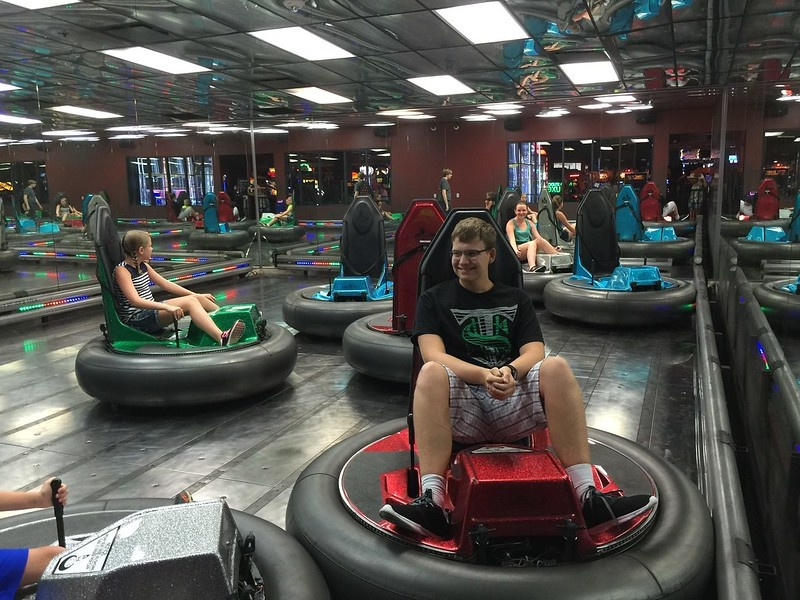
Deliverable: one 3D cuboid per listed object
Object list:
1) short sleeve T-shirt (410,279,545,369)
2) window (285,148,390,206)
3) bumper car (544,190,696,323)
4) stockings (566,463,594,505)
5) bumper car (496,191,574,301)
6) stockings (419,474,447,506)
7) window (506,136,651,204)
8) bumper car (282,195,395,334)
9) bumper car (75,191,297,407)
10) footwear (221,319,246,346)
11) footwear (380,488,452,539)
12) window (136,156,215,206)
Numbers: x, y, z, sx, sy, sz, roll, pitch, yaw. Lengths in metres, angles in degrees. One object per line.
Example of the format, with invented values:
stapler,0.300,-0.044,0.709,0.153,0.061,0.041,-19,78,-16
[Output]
short sleeve T-shirt,0.307,0.095,1.974,0.611,0.408,0.311,-1,-18,2
window,-1.196,-2.214,8.780,2.134,1.079,0.055,4,13,18
bumper car,2.481,-0.526,5.457,1.647,1.290,1.555,-7,17,-11
stockings,0.618,0.595,1.631,0.060,0.086,0.062,11,58,15
bumper car,1.808,-0.885,6.604,0.715,1.160,1.120,-13,12,-15
stockings,0.105,0.636,1.622,0.121,0.108,0.070,1,2,-7
window,3.022,-2.106,8.148,2.530,1.027,0.019,-1,8,-9
bumper car,-0.506,-0.394,5.232,1.556,1.297,1.612,3,11,18
bumper car,-1.627,-0.052,3.665,1.529,1.267,1.335,2,19,-23
footwear,-1.238,0.246,3.573,0.098,0.080,0.216,10,55,31
footwear,0.013,0.692,1.604,0.275,0.140,0.099,23,-18,-12
window,-3.942,-1.908,8.027,1.268,0.696,0.039,2,5,7
